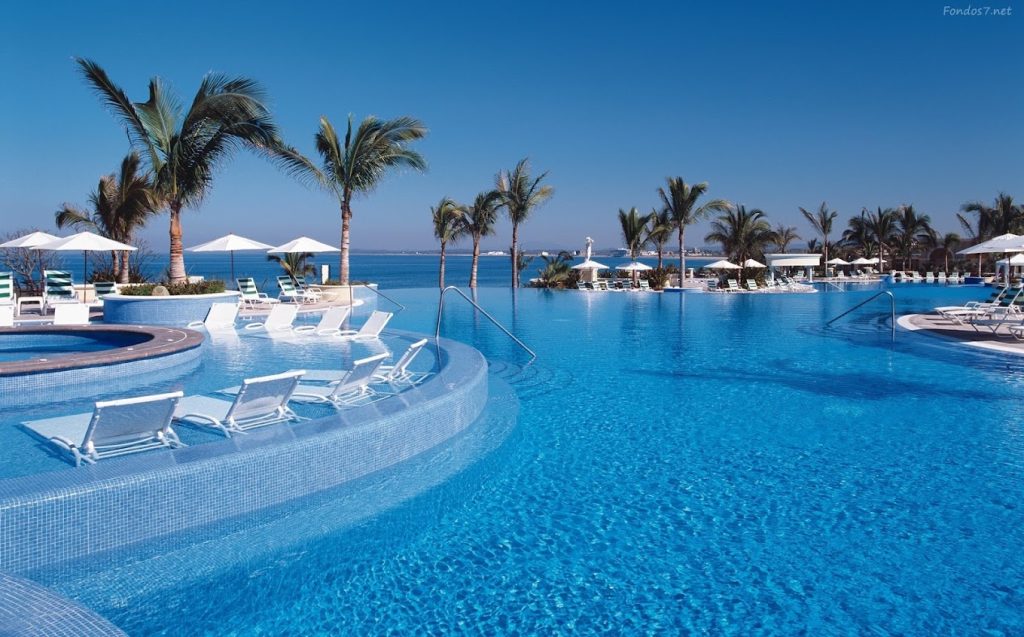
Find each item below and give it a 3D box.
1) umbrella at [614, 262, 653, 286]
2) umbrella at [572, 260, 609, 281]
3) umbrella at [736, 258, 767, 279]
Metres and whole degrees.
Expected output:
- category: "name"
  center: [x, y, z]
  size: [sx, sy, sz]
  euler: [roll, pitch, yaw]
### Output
- category: "umbrella"
  center: [7.182, -2.607, 38.855]
  size: [1.507, 1.357, 5.470]
  euler: [1, 6, 11]
- category: "umbrella"
  center: [4.504, -2.865, 39.014]
  size: [1.734, 0.987, 1.618]
  euler: [-1, 1, -27]
- category: "umbrella"
  center: [14.948, -2.817, 41.597]
  size: [1.903, 0.737, 1.750]
  euler: [-3, 9, 1]
